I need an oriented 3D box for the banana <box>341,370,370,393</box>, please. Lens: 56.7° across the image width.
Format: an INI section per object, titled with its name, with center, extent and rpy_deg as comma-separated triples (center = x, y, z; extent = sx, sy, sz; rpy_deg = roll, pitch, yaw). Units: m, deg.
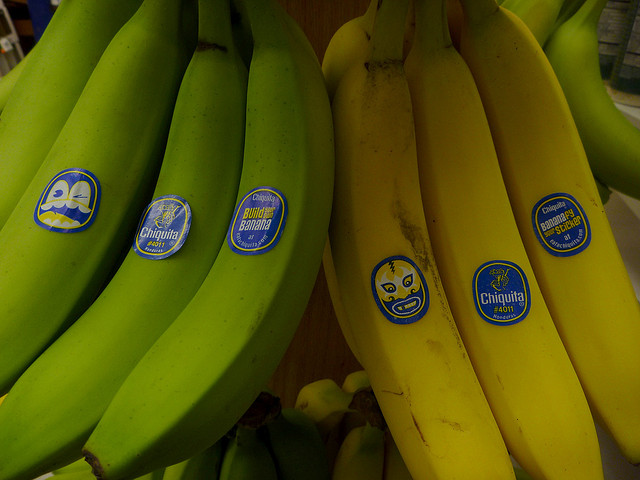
[banana]
center = 0.069, 0.273, 1.136
extent = 0.019, 0.060, 0.079
rpy_deg = 2, -21, -26
